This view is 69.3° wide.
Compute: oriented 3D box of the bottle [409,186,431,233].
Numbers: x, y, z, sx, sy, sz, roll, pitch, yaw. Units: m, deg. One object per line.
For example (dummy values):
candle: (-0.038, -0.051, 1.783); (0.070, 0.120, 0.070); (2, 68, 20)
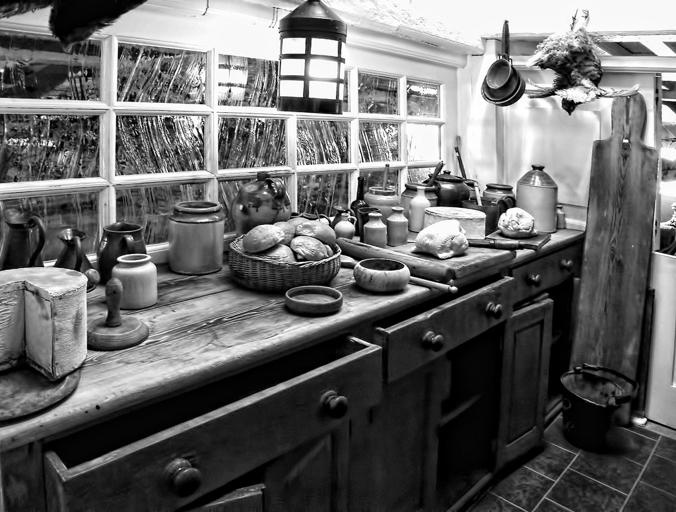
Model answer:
bottle: (0.392, -0.228, 2.346); (0.096, 0.216, 0.134); (4, 12, 21)

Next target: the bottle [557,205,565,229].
bottle: (1.238, -0.215, 2.705); (0.051, 0.119, 0.170); (4, 12, 24)

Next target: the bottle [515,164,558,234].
bottle: (1.064, -0.295, 2.590); (0.196, 0.339, 0.201); (-3, 7, 0)

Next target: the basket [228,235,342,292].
basket: (-0.172, 0.040, 1.604); (0.355, 0.144, 0.137); (-3, 11, -13)

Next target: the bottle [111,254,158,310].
bottle: (-0.597, 0.070, 1.449); (0.126, 0.147, 0.130); (15, 20, 41)

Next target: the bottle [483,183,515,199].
bottle: (0.853, -0.329, 2.629); (0.111, 0.076, 0.111); (1, 4, 0)

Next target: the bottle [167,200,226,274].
bottle: (-0.491, -0.097, 1.773); (0.231, 0.259, 0.227); (-7, 18, -33)

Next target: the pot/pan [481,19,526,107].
pot/pan: (0.861, -1.043, 2.553); (0.209, 0.462, 0.150); (2, -2, 32)

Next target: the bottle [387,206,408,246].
bottle: (0.255, -0.127, 2.110); (0.086, 0.159, 0.079); (-1, 11, 0)

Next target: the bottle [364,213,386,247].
bottle: (0.145, -0.110, 2.024); (0.094, 0.141, 0.072); (9, 14, 41)
